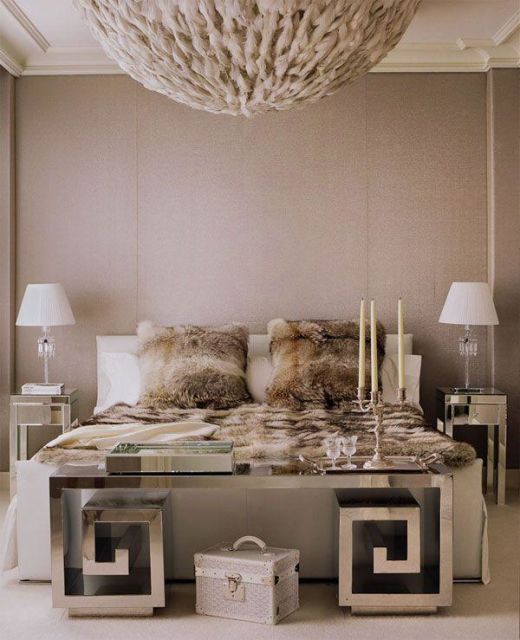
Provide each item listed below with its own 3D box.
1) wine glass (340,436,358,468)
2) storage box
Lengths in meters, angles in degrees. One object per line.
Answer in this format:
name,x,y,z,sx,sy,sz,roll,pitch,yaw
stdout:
wine glass,0.300,0.456,2.268,0.072,0.115,0.080,0,-9,0
storage box,-0.032,0.866,2.333,0.343,0.287,0.278,-1,-2,27
